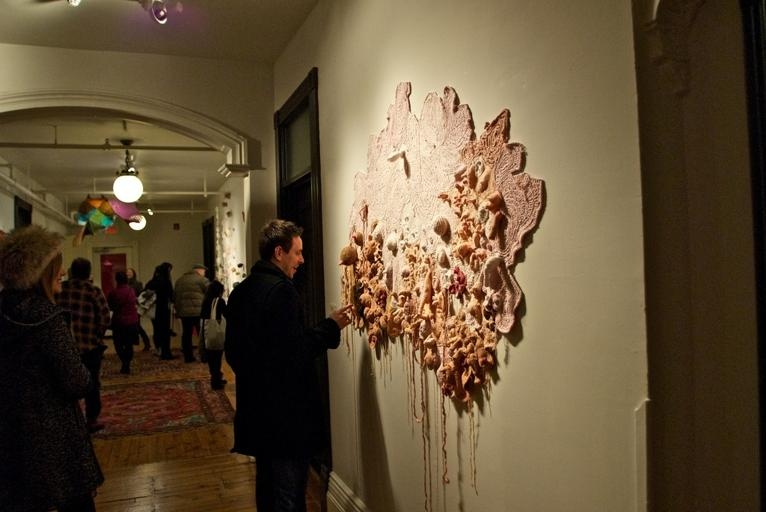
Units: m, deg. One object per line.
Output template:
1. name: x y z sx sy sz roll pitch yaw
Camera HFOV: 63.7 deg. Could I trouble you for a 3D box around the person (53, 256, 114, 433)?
1. person: -2.699 0.893 5.747 0.375 1.523 0.472 -5 1 5
